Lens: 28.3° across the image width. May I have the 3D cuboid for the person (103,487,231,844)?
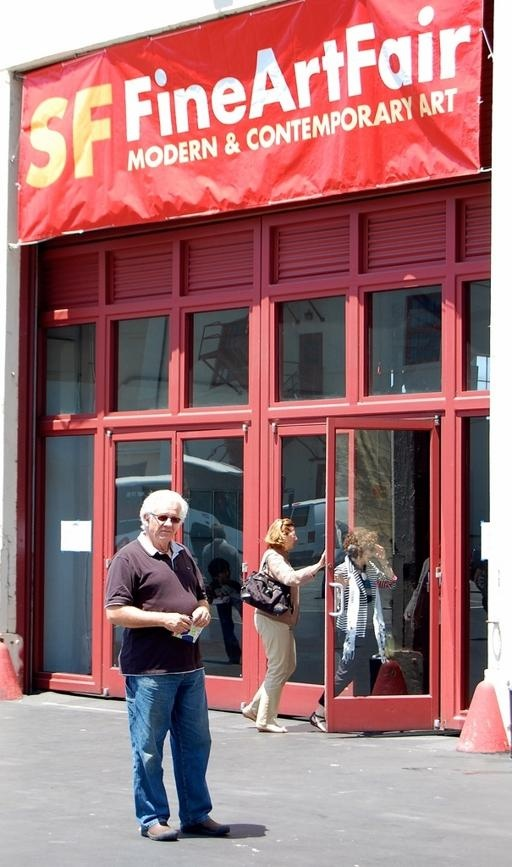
[{"bbox_3d":[-0.380,0.962,4.190,0.401,1.457,0.536,-2,-3,39],"label":"person"}]

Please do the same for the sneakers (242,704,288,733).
[{"bbox_3d":[0.038,2.172,7.723,0.434,0.215,0.146,-2,-4,39],"label":"sneakers"}]

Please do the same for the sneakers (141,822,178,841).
[{"bbox_3d":[-0.394,1.581,4.088,0.061,0.072,0.162,7,-15,-33],"label":"sneakers"}]

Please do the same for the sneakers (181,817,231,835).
[{"bbox_3d":[-0.209,1.628,4.187,0.198,0.093,0.078,-4,-5,16],"label":"sneakers"}]
